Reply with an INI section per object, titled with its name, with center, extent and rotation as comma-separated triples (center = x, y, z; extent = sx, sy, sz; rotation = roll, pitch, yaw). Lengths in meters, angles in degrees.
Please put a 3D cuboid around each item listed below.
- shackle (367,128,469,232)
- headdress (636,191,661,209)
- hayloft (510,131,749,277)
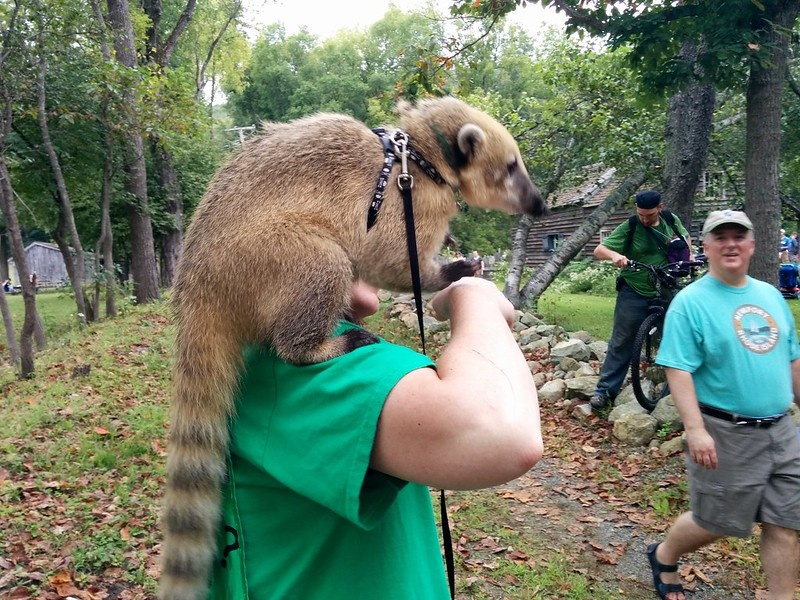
[shackle]
center = 0.056, -0.713, 3.727
extent = 0.181, 0.628, 0.395
rotation = 19, 12, -40
[headdress]
center = 3.113, -1.258, 7.955
extent = 0.265, 0.226, 0.222
rotation = 1, 8, 12
[hayloft]
center = 7.233, -4.211, 22.644
extent = 7.272, 3.969, 3.873
rotation = -3, 38, 20
